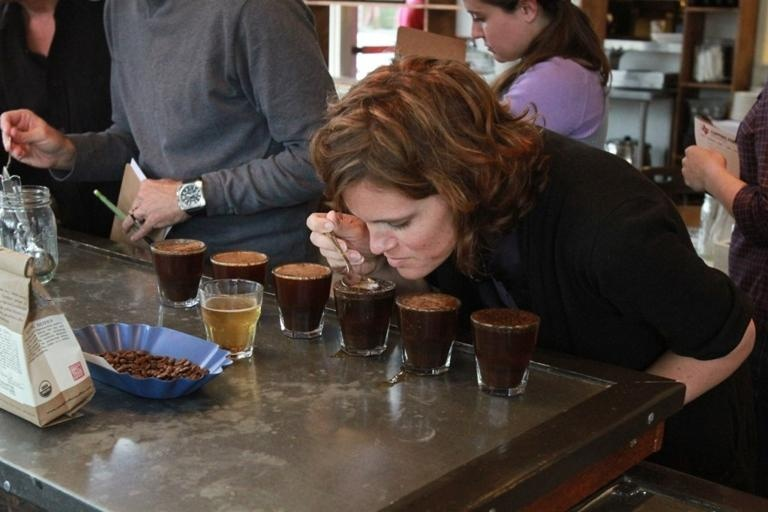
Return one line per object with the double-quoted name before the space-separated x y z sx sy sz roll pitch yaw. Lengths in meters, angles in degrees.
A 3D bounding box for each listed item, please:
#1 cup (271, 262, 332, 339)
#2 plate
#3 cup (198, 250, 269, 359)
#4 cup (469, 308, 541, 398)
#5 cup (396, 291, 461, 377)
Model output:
"cup" -0.193 0.107 1.623 0.153 0.162 0.153 2 6 0
"plate" -0.491 0.226 1.351 0.258 0.087 0.215 5 13 29
"cup" -0.351 0.116 1.555 0.215 0.220 0.198 2 6 0
"cup" 0.255 0.195 1.403 0.163 0.170 0.135 7 8 40
"cup" 0.099 0.172 1.478 0.157 0.159 0.143 2 6 0
